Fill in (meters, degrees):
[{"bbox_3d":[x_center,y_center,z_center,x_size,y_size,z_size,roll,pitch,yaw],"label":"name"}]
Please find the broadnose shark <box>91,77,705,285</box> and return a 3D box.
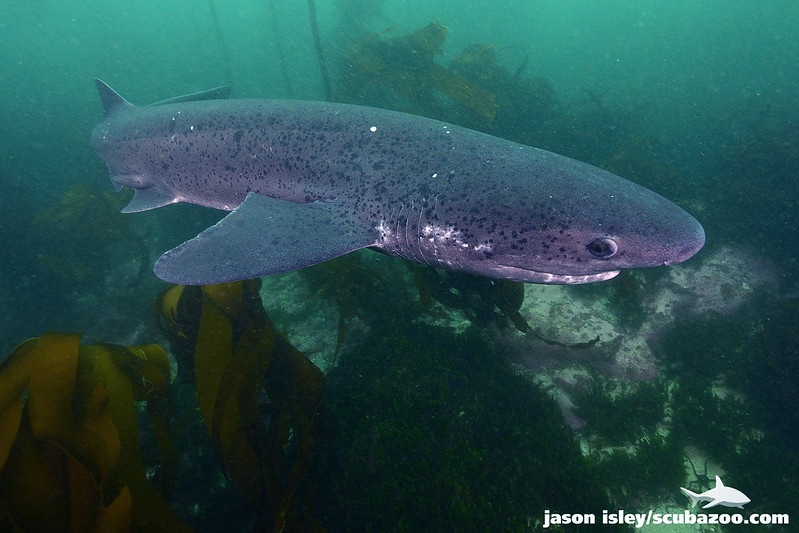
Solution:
[{"bbox_3d":[-0.207,-0.496,7.263,5.144,1.619,1.637,6,40,8],"label":"broadnose shark"}]
